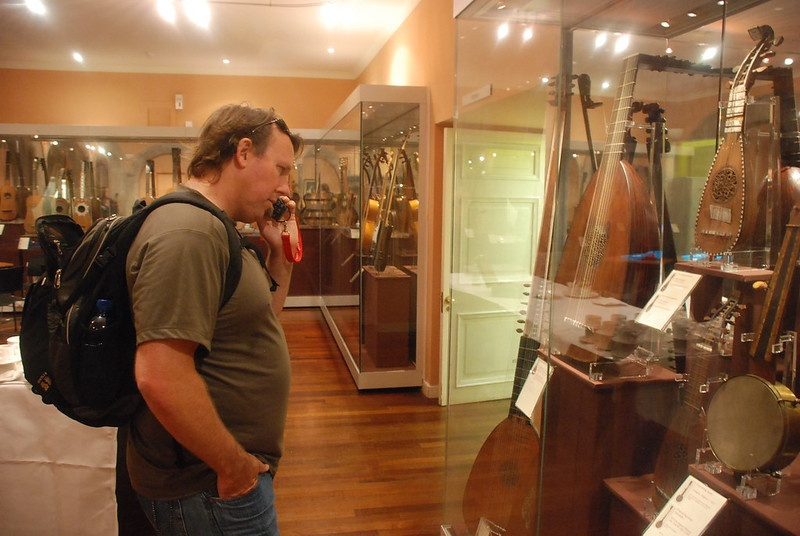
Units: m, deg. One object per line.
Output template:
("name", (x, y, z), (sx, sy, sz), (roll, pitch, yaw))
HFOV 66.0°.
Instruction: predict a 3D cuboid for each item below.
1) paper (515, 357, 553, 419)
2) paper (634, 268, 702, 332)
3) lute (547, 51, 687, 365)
("paper", (0.487, 0.437, 2.236), (0.042, 0.184, 0.179), (21, -11, -1))
("paper", (0.810, 0.095, 1.864), (0.150, 0.176, 0.150), (-2, 11, -13))
("lute", (0.718, -0.186, 2.023), (0.376, 1.004, 0.230), (6, 11, 24))
